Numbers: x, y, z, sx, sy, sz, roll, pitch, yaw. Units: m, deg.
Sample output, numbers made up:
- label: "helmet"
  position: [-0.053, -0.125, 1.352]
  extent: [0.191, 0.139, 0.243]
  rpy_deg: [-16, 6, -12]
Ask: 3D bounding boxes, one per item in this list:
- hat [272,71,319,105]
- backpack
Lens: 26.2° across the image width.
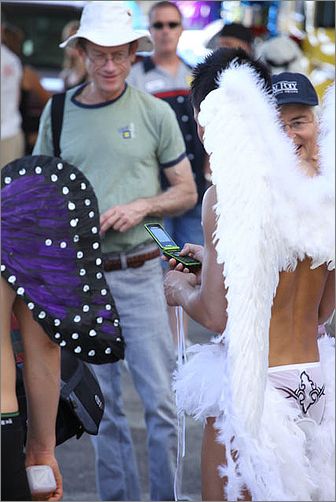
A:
- label: "hat"
  position: [0.408, -0.517, 2.261]
  extent: [0.138, 0.100, 0.191]
  rpy_deg: [-6, 1, 8]
- label: "backpack"
  position: [-0.330, 0.365, 2.075]
  extent: [0.219, 0.370, 0.257]
  rpy_deg: [-15, 38, 5]
